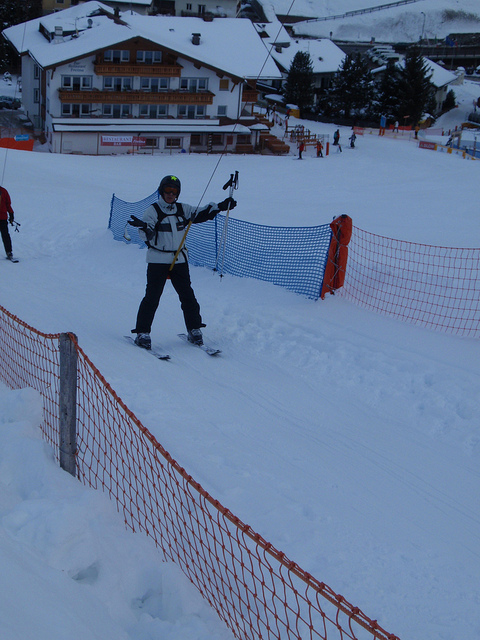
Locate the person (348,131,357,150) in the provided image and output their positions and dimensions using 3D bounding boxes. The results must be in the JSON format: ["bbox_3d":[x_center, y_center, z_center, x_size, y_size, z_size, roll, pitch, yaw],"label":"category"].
[{"bbox_3d":[6.610,-10.507,31.436,0.301,0.969,1.166,7,16,9],"label":"person"}]

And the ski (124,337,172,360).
[{"bbox_3d":[-1.227,0.374,6.964,0.092,0.052,0.711,-16,25,-34],"label":"ski"}]

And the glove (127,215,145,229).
[{"bbox_3d":[-1.326,-1.223,6.682,0.182,0.140,0.263,31,18,24],"label":"glove"}]

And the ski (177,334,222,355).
[{"bbox_3d":[-0.593,0.351,7.535,0.102,0.058,0.716,-29,30,-27],"label":"ski"}]

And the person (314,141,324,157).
[{"bbox_3d":[4.365,-9.437,29.613,0.302,0.819,0.875,6,16,7],"label":"person"}]

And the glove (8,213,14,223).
[{"bbox_3d":[-4.939,-2.189,11.490,0.088,0.220,0.239,-3,18,-25],"label":"glove"}]

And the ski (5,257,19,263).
[{"bbox_3d":[-4.970,-1.315,11.695,0.306,0.074,0.153,16,19,36],"label":"ski"}]
